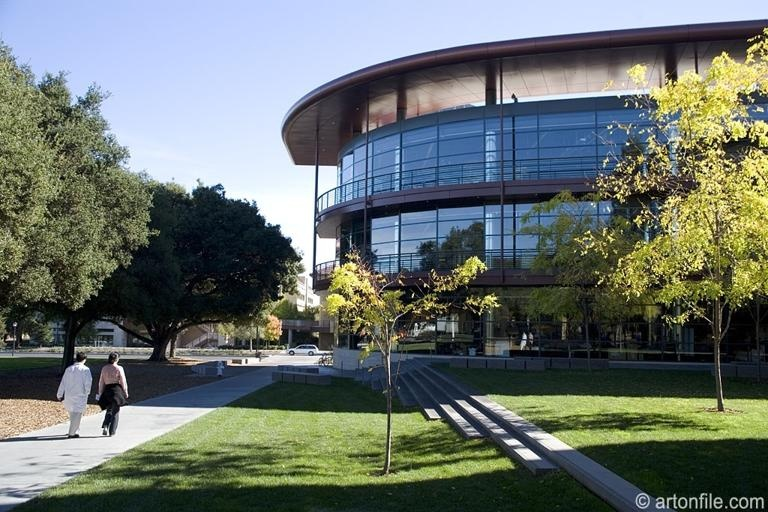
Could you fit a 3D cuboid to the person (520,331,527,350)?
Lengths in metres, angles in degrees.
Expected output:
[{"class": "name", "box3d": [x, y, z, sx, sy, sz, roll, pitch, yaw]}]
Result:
[{"class": "person", "box3d": [8.567, 5.194, 39.460, 0.428, 1.053, 0.096, -1, -7, 6]}]

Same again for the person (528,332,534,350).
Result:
[{"class": "person", "box3d": [8.971, 5.184, 39.381, 0.337, 1.052, 0.078, -2, -7, 12]}]

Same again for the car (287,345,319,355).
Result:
[{"class": "car", "box3d": [-10.422, 12.064, 82.625, 3.452, 1.068, 1.570, 4, -10, -9]}]

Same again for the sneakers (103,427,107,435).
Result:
[{"class": "sneakers", "box3d": [-8.872, 5.538, 20.431, 0.135, 0.268, 0.423, 4, -8, -28]}]
